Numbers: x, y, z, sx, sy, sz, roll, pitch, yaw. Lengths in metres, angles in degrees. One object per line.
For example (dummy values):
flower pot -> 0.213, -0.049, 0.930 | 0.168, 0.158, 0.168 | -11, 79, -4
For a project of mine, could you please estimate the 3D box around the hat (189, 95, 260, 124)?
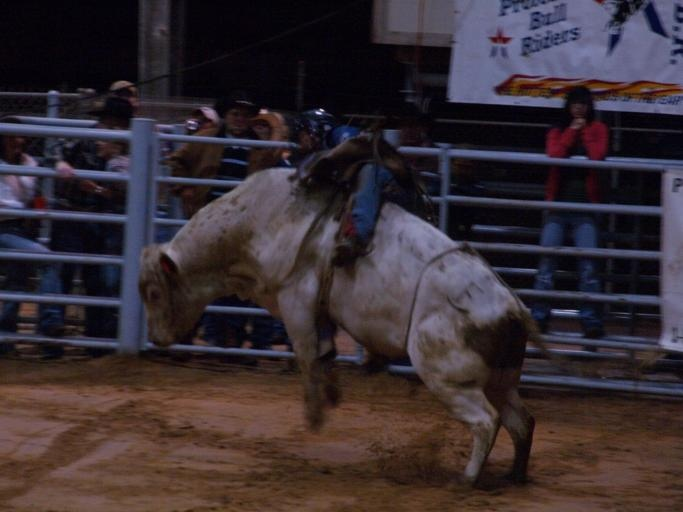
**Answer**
hat -> -1.150, -1.449, 11.637 | 0.538, 0.152, 0.332 | -10, -2, -7

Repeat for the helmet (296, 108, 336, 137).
helmet -> -0.166, -1.061, 9.509 | 0.247, 0.107, 0.316 | 15, 18, 26
